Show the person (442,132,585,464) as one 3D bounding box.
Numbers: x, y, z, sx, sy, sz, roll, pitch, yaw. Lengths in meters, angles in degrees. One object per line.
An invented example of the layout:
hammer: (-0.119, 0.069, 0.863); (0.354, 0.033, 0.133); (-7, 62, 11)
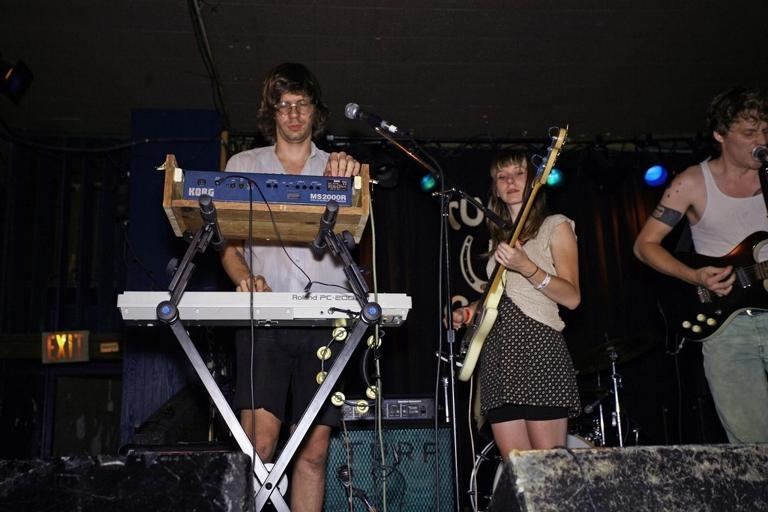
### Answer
person: (0.821, 0.213, 4.502); (0.731, 1.910, 0.875); (-1, 10, 6)

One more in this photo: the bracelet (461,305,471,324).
bracelet: (0.540, 0.375, 4.813); (0.021, 0.086, 0.058); (-3, -4, 35)

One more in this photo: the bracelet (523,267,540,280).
bracelet: (0.883, 0.094, 4.393); (0.100, 0.045, 0.093); (-5, -25, -10)

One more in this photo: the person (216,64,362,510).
person: (-0.554, 0.205, 4.415); (0.766, 2.675, 1.190); (-4, 10, -12)

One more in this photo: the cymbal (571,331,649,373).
cymbal: (1.823, 0.756, 5.947); (0.450, 0.116, 0.486); (-18, -39, 11)

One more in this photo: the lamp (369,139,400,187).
lamp: (0.015, -0.829, 6.886); (0.256, 0.407, 0.123); (-2, 10, -1)
